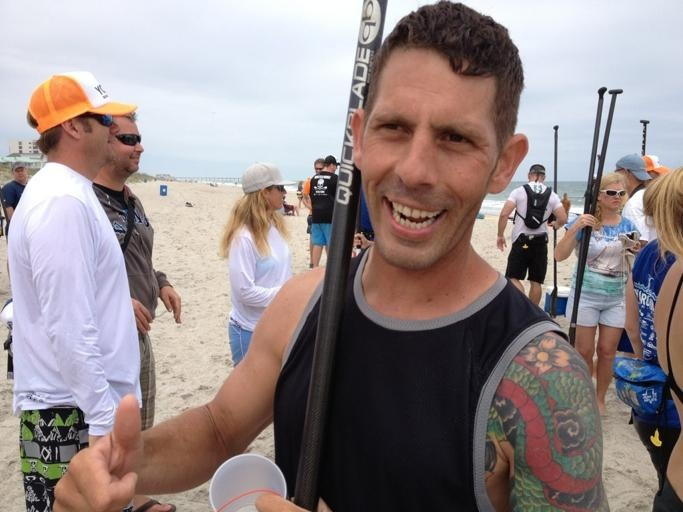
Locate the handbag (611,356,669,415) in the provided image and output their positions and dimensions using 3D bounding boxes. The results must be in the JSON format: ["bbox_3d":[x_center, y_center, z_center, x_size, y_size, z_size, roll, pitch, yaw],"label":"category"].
[{"bbox_3d":[1.807,0.775,3.708,0.270,0.128,0.245,15,0,31],"label":"handbag"}]
